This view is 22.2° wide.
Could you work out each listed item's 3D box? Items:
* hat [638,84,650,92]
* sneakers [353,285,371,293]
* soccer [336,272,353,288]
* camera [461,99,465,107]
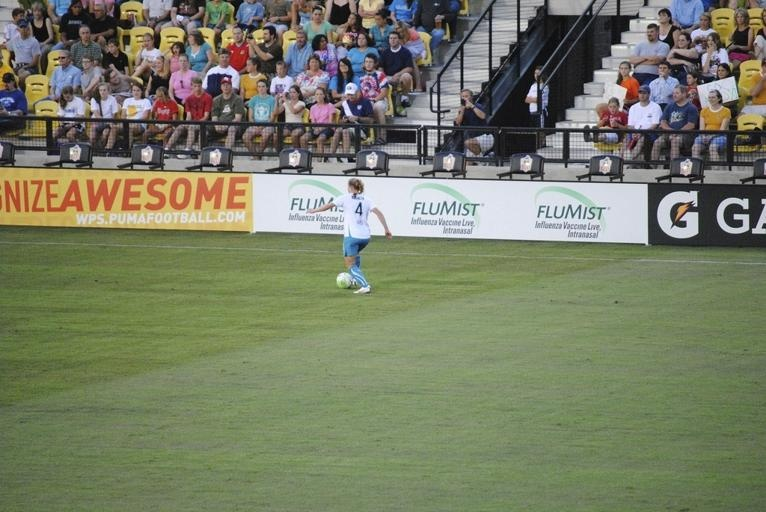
[{"bbox_3d":[6.305,-3.966,47.066,0.206,0.140,0.286,2,7,9],"label":"hat"},{"bbox_3d":[-0.445,0.712,41.354,0.375,0.145,0.136,3,4,36],"label":"sneakers"},{"bbox_3d":[-0.792,0.509,41.656,0.289,0.281,0.351,-7,-22,-35],"label":"soccer"},{"bbox_3d":[2.018,-3.751,48.605,0.038,0.133,0.153,-4,-1,-43],"label":"camera"}]
